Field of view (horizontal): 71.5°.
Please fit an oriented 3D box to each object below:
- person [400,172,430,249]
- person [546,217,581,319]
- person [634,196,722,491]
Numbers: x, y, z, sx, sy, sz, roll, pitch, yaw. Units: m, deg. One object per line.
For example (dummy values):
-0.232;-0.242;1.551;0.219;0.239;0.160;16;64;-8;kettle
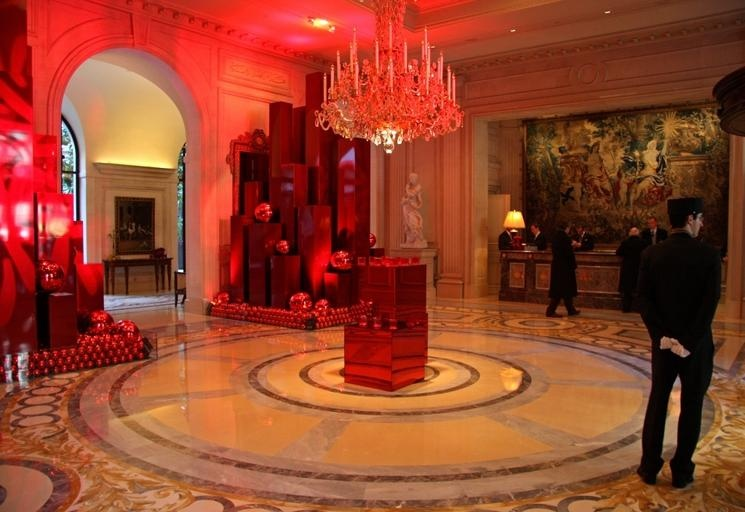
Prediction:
1.025;-1.117;12.585;0.646;1.779;0.905;1;7;6;person
3.701;0.283;9.975;0.575;1.712;0.606;2;7;22;person
2.395;0.642;4.076;0.576;2.189;0.515;2;7;17;person
